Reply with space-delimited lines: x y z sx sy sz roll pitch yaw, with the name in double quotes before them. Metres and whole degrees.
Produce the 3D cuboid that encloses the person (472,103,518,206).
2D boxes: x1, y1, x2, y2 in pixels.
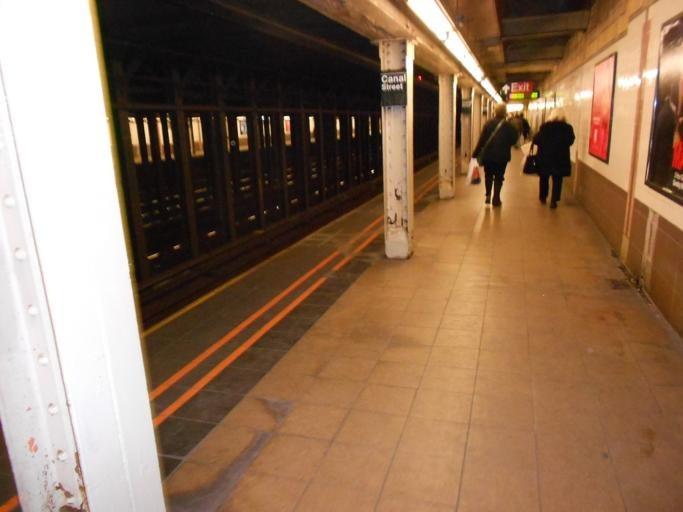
"person" 3.340 -2.212 10.598 0.874 2.131 0.978 1 17 16
